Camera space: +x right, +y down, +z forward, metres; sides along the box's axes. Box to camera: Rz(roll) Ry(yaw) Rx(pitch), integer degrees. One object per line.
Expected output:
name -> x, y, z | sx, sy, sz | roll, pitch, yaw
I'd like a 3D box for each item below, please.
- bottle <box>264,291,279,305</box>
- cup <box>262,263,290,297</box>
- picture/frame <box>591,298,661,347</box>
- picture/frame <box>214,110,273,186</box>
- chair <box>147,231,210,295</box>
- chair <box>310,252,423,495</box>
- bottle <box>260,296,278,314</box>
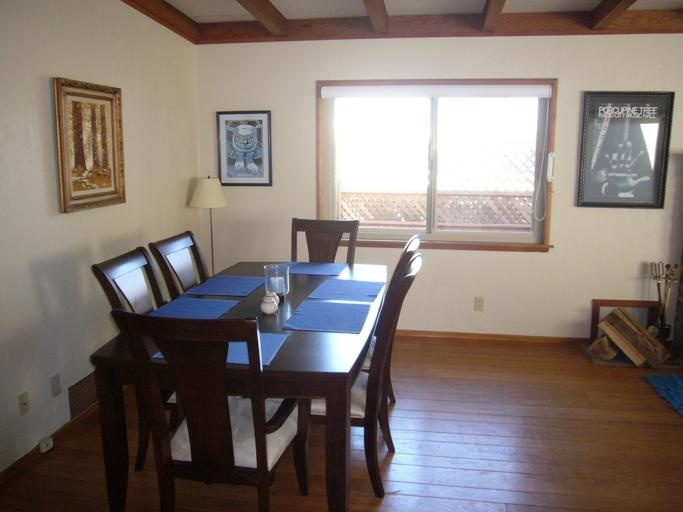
bottle -> -0.382, 0.226, 2.900 | 0.067, 0.071, 0.066 | -10, 14, -41
cup -> -0.377, 0.150, 3.099 | 0.148, 0.178, 0.156 | 2, 7, 0
picture/frame -> 2.401, 0.554, 4.336 | 0.344, 0.412, 0.017 | -2, -6, -3
picture/frame -> -0.861, -1.001, 4.687 | 0.626, 0.937, 0.040 | 2, 16, 6
chair -> -1.103, 0.056, 3.467 | 0.333, 0.521, 0.284 | 9, 25, 22
chair -> 0.009, 0.685, 3.017 | 0.722, 1.158, 0.645 | 2, 8, 5
bottle -> -0.390, 0.271, 2.834 | 0.081, 0.080, 0.087 | -1, 2, 8
